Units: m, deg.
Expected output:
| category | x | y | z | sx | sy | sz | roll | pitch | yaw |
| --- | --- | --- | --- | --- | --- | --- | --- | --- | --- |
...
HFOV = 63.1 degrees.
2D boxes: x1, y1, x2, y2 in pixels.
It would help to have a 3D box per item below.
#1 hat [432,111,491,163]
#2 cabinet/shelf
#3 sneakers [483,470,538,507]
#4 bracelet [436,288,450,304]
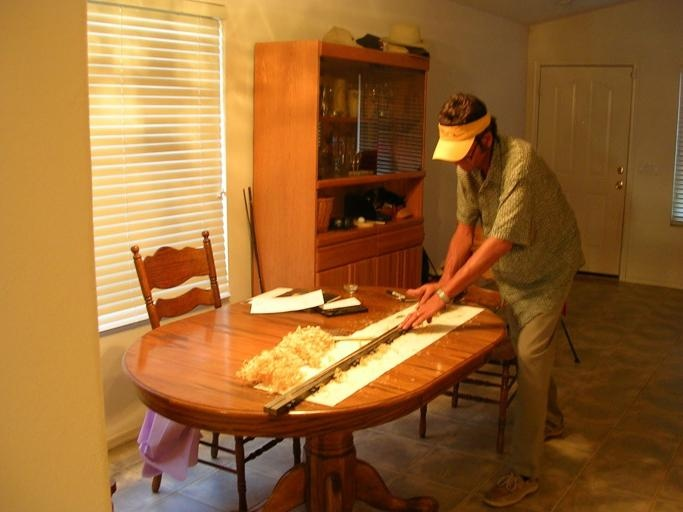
| category | x | y | z | sx | sy | sz | roll | pitch | yaw |
| --- | --- | --- | --- | --- | --- | --- | --- | --- | --- |
| hat | 0.494 | -0.482 | 2.250 | 0.213 | 0.191 | 0.188 | 3 | 12 | 15 |
| cabinet/shelf | -0.035 | -0.615 | 3.723 | 0.528 | 2.184 | 1.464 | 5 | 12 | 27 |
| sneakers | 0.772 | 1.020 | 2.539 | 0.275 | 0.118 | 0.106 | -8 | 8 | -34 |
| bracelet | 0.390 | 0.153 | 2.131 | 0.047 | 0.019 | 0.050 | 49 | 5 | 30 |
